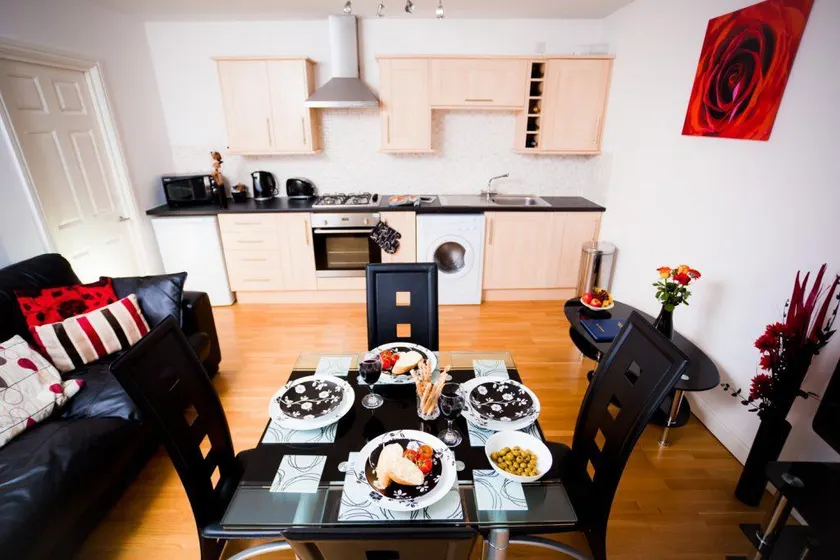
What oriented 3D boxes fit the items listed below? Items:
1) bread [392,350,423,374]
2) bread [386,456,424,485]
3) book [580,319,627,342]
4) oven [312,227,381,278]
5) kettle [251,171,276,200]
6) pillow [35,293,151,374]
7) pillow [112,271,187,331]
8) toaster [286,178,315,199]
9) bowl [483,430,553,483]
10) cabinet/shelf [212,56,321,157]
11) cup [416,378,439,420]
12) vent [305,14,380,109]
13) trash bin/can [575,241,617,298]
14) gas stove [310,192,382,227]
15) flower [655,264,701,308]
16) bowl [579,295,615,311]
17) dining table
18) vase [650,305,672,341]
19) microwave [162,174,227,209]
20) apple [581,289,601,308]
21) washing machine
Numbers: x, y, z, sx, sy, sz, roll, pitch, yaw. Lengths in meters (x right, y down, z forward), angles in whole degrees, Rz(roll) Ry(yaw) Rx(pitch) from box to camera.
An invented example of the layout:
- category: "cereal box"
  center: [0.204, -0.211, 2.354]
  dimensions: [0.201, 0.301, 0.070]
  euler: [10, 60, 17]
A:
- category: "bread"
  center: [-0.080, 0.505, 3.230]
  dimensions: [0.120, 0.036, 0.162]
  euler: [20, 34, 39]
- category: "bread"
  center: [-0.074, 0.993, 2.696]
  dimensions: [0.193, 0.122, 0.100]
  euler: [8, 22, 22]
- category: "book"
  center: [1.393, 0.372, 4.043]
  dimensions: [0.206, 0.033, 0.271]
  euler: [13, 21, 41]
- category: "oven"
  center: [-0.764, -0.329, 5.603]
  dimensions: [0.704, 0.599, 0.486]
  euler: [-1, 20, -3]
- category: "kettle"
  center: [-1.719, -1.058, 5.729]
  dimensions: [0.280, 0.302, 0.192]
  euler: [-3, 21, -7]
- category: "pillow"
  center: [-2.345, 0.383, 3.680]
  dimensions: [0.530, 0.307, 0.167]
  euler: [-24, 0, -44]
- category: "pillow"
  center: [-2.083, 0.112, 4.107]
  dimensions: [0.646, 0.554, 0.183]
  euler: [1, -4, -2]
- category: "toaster"
  center: [-1.327, -1.007, 5.749]
  dimensions: [0.258, 0.174, 0.237]
  euler: [4, 28, 4]
- category: "bowl"
  center: [0.526, 0.948, 2.818]
  dimensions: [0.276, 0.093, 0.258]
  euler: [-1, 24, 0]
- category: "cabinet/shelf"
  center: [-1.529, -1.801, 5.279]
  dimensions: [1.092, 0.924, 0.390]
  euler: [0, 24, 0]
- category: "cup"
  center: [0.047, 0.669, 2.970]
  dimensions: [0.181, 0.200, 0.188]
  euler: [-1, 22, 0]
- category: "vent"
  center: [-0.747, -2.273, 5.419]
  dimensions: [0.931, 0.866, 0.843]
  euler: [-4, 23, -11]
- category: "trash bin/can"
  center: [1.755, -0.122, 5.156]
  dimensions: [0.417, 0.630, 0.380]
  euler: [3, 23, 8]
- category: "gas stove"
  center: [-0.775, -0.730, 5.480]
  dimensions: [0.703, 0.280, 0.420]
  euler: [-2, 20, -4]
- category: "flower"
  center: [1.933, 0.043, 3.881]
  dimensions: [0.346, 0.337, 0.280]
  euler: [-2, 16, 1]
- category: "bowl"
  center: [1.445, 0.180, 4.256]
  dimensions: [0.174, 0.059, 0.168]
  euler: [-5, 12, 1]
- category: "dining table"
  center: [-0.236, 0.946, 2.723]
  dimensions: [0.937, 0.289, 1.241]
  euler: [2, 28, 2]
- category: "vase"
  center: [1.686, 0.295, 3.643]
  dimensions: [0.154, 0.332, 0.135]
  euler: [-3, 27, 15]
- category: "microwave"
  center: [-2.362, -0.932, 5.431]
  dimensions: [0.649, 0.382, 0.386]
  euler: [-4, 27, -12]
- category: "apple"
  center: [1.410, 0.152, 4.300]
  dimensions: [0.146, 0.083, 0.148]
  euler: [-2, 17, -1]
- category: "washing machine"
  center: [0.365, -0.365, 5.766]
  dimensions: [1.028, 1.322, 0.977]
  euler: [-2, 23, -2]
